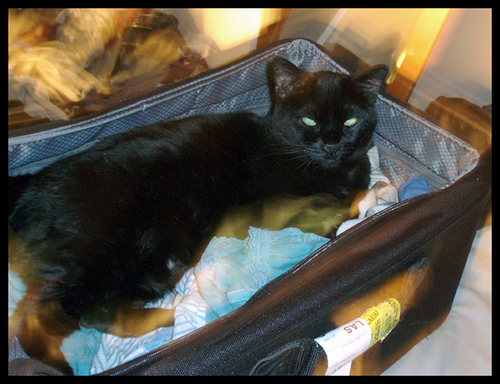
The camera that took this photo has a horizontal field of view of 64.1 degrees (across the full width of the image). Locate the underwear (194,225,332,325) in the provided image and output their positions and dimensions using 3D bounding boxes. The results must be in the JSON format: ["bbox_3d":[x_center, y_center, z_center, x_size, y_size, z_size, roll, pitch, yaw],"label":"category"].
[{"bbox_3d":[0.012,0.136,0.952,0.351,0.108,0.188,-30,70,-12],"label":"underwear"}]

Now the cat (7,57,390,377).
[{"bbox_3d":[0.017,-0.069,1.282,1.292,0.653,0.448,-14,33,-19],"label":"cat"}]

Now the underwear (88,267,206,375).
[{"bbox_3d":[-0.242,0.291,0.930,0.207,0.068,0.210,-24,103,-23],"label":"underwear"}]

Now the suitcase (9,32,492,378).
[{"bbox_3d":[-0.030,0.201,1.086,1.062,0.487,0.751,-21,54,-16],"label":"suitcase"}]

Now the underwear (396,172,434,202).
[{"bbox_3d":[0.425,-0.009,1.051,0.067,0.022,0.075,-23,61,11],"label":"underwear"}]
